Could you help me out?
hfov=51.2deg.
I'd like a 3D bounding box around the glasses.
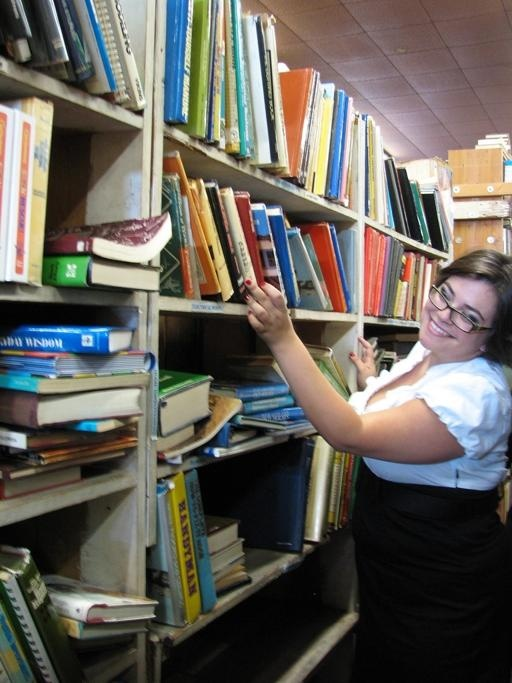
[{"bbox_3d":[0.396,-0.067,1.088,0.074,0.100,0.131,-3,3,-30],"label":"glasses"}]
